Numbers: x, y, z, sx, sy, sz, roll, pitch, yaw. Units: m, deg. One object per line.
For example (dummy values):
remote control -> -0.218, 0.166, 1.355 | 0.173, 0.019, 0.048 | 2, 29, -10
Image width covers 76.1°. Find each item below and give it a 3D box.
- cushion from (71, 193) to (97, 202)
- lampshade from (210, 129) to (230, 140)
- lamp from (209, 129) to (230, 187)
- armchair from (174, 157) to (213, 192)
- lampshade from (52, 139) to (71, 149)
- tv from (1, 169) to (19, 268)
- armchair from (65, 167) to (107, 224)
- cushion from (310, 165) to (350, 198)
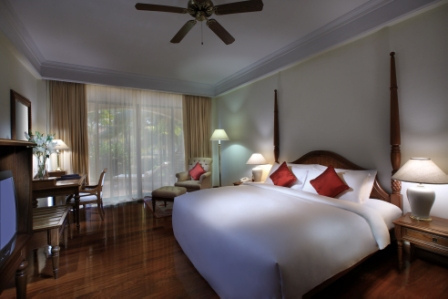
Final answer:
cushion -> -2.651, 0.920, 5.419 | 0.435, 0.158, 0.215 | -2, 2, -25
lampshade -> -0.101, -0.321, 7.308 | 0.309, 0.328, 0.281 | 1, -5, -1
lamp -> -0.131, 0.109, 7.466 | 0.400, 1.759, 0.384 | 2, 3, -36
armchair -> -0.721, 0.617, 7.062 | 0.744, 0.857, 0.695 | 6, 3, 22
lampshade -> -3.404, -0.085, 6.001 | 0.251, 0.130, 0.258 | 3, 3, 29
tv -> -2.321, 0.742, 3.076 | 0.120, 0.998, 0.460 | -3, 2, -22
armchair -> -2.690, 0.878, 5.664 | 0.715, 1.230, 0.654 | -1, 1, -12
cushion -> 1.711, 0.564, 4.632 | 0.144, 0.443, 0.481 | 37, 18, -33
